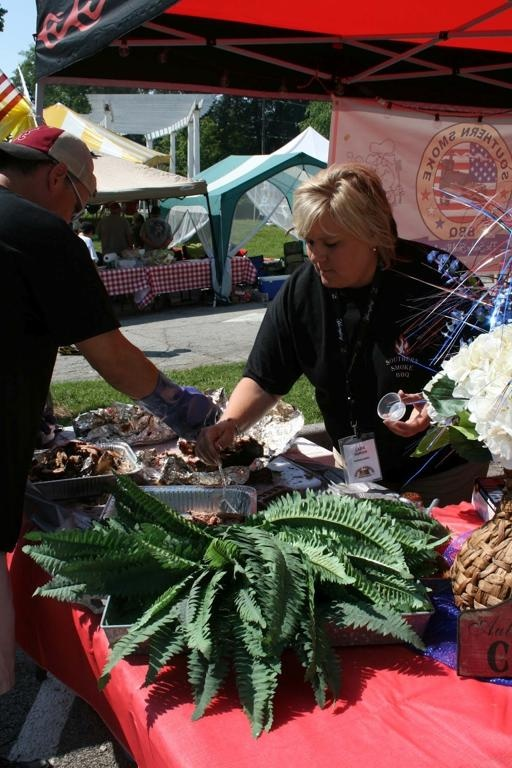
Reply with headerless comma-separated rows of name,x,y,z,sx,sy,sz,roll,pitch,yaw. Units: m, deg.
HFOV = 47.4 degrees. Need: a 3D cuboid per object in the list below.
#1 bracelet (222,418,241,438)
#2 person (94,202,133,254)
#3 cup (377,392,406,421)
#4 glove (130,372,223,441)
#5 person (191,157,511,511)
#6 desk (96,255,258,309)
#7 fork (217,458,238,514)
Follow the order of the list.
bracelet,-0.080,0.146,1.954,0.050,0.056,0.125,-1,12,5
person,-2.924,-2.980,12.015,0.681,1.608,0.431,3,47,-14
cup,0.309,0.059,1.360,0.072,0.058,0.049,-29,-29,30
glove,-0.221,0.020,1.824,0.111,0.077,0.257,-14,8,39
person,0.331,0.002,2.115,1.029,1.383,0.845,-10,27,4
desk,-1.534,-2.032,11.365,2.762,0.614,1.639,-10,15,-29
fork,-0.077,0.273,1.532,0.049,0.126,0.010,-10,7,13
